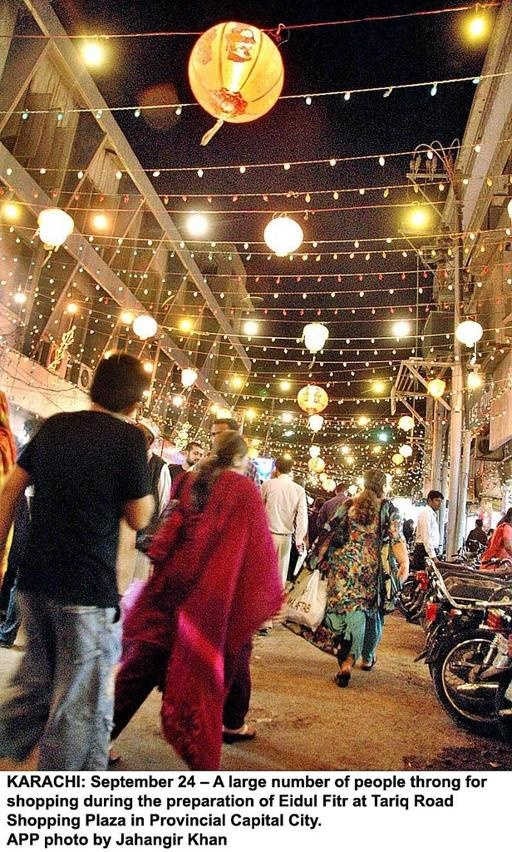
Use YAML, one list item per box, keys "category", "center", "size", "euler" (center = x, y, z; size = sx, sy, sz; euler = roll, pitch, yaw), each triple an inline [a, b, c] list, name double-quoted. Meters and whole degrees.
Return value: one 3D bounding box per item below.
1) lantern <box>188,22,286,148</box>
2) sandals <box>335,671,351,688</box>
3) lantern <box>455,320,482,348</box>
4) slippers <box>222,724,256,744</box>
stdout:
- category: "lantern"
  center: [-0.193, -3.113, 4.480]
  size: [0.805, 0.638, 0.497]
  euler: [11, -11, 0]
- category: "sandals"
  center: [0.822, 2.385, 4.810]
  size: [0.082, 0.096, 0.210]
  euler: [-1, -47, 3]
- category: "lantern"
  center: [4.061, -1.898, 9.724]
  size: [0.384, 0.711, 0.896]
  euler: [6, -12, 24]
- category: "slippers"
  center: [-0.115, 1.911, 3.157]
  size: [0.084, 0.083, 0.215]
  euler: [-1, -7, 34]
